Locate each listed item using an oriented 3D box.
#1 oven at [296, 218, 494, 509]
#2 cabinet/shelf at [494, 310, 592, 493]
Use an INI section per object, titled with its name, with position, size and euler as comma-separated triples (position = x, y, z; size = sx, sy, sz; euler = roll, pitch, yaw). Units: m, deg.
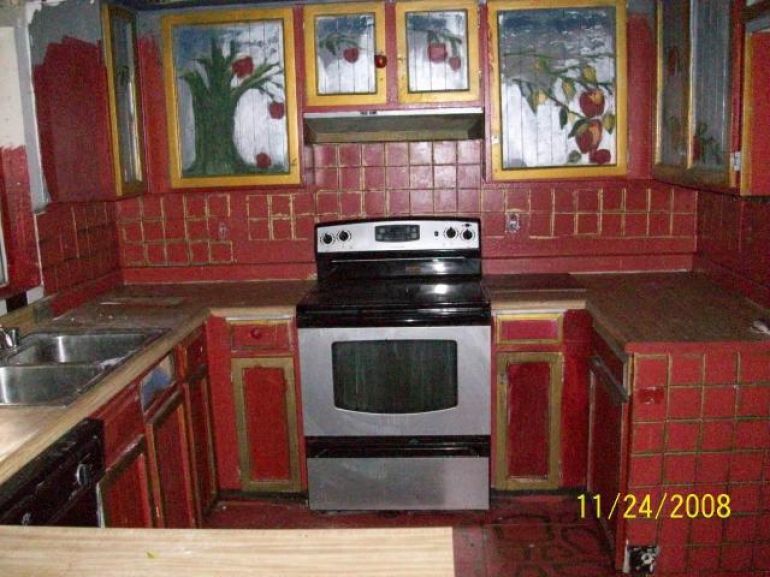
[oven]
position = 0.063, 0.333, 3.148
size = 0.895, 1.212, 0.737
euler = 1, 15, 12
[cabinet/shelf]
position = 0.712, 0.512, 3.133
size = 0.462, 0.854, 0.455
euler = 1, 0, 12
